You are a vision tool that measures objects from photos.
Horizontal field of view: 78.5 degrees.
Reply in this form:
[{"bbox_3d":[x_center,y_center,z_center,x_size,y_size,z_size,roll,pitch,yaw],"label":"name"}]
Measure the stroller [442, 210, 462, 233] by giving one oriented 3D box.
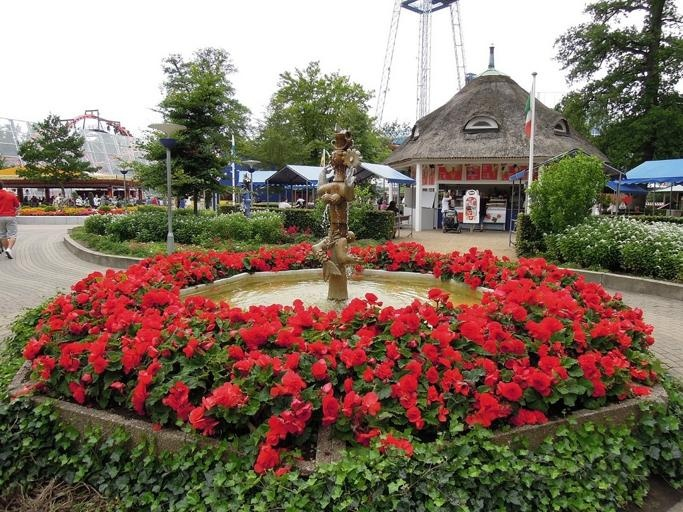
[{"bbox_3d":[5.806,-1.764,22.118,0.845,1.351,1.255,2,16,9],"label":"stroller"}]
